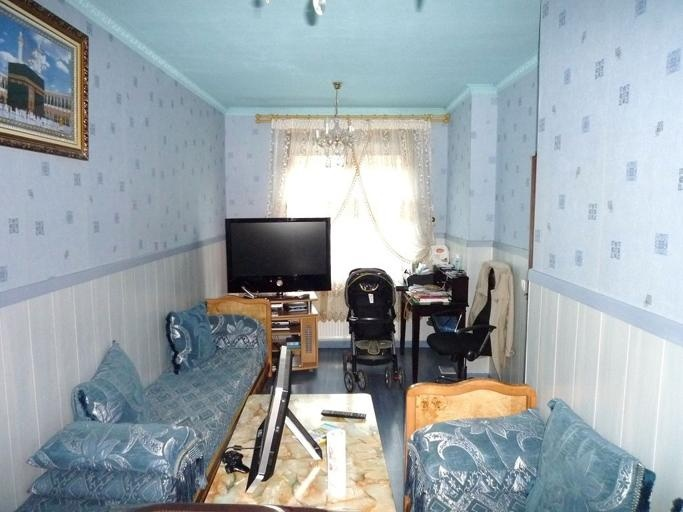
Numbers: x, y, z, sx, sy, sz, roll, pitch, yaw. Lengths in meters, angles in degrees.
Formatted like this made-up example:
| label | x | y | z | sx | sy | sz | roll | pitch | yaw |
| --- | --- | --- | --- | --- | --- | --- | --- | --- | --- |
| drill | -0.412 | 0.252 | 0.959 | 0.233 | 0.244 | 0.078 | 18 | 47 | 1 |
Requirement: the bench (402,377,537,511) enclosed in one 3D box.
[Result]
| label | x | y | z | sx | sy | sz | roll | pitch | yaw |
| --- | --- | --- | --- | --- | --- | --- | --- | --- | --- |
| bench | 0.818 | 1.094 | 3.140 | 0.770 | 0.544 | 0.831 | 0 | -1 | 6 |

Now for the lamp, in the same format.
| label | x | y | z | sx | sy | sz | roll | pitch | yaw |
| --- | --- | --- | --- | --- | --- | --- | --- | --- | --- |
| lamp | -0.073 | -1.666 | 5.829 | 0.593 | 1.205 | 0.585 | 4 | 10 | 21 |

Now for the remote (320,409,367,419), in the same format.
| label | x | y | z | sx | sy | sz | roll | pitch | yaw |
| --- | --- | --- | --- | --- | --- | --- | --- | --- | --- |
| remote | 0.012 | 1.081 | 3.273 | 0.327 | 0.042 | 0.106 | 0 | -2 | 11 |

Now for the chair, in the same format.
| label | x | y | z | sx | sy | sz | roll | pitch | yaw |
| --- | --- | --- | --- | --- | --- | --- | --- | --- | --- |
| chair | 1.271 | 0.766 | 5.039 | 0.667 | 1.272 | 0.897 | 1 | 6 | 18 |

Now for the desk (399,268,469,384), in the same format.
| label | x | y | z | sx | sy | sz | roll | pitch | yaw |
| --- | --- | --- | --- | --- | --- | --- | --- | --- | --- |
| desk | 1.120 | 0.772 | 5.817 | 0.529 | 1.290 | 1.226 | 3 | 5 | 4 |
